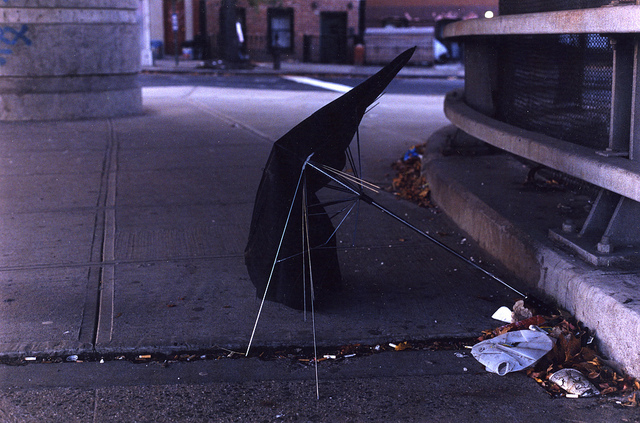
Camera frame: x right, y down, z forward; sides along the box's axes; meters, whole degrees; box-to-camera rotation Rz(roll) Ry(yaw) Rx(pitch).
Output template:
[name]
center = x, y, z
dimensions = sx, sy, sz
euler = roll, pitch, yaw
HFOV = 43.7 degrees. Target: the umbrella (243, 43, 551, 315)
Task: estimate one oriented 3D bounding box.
[umbrella]
center = 1.000, -0.109, 8.591
dimensions = 3.294, 2.345, 3.733
euler = 11, 4, 2
